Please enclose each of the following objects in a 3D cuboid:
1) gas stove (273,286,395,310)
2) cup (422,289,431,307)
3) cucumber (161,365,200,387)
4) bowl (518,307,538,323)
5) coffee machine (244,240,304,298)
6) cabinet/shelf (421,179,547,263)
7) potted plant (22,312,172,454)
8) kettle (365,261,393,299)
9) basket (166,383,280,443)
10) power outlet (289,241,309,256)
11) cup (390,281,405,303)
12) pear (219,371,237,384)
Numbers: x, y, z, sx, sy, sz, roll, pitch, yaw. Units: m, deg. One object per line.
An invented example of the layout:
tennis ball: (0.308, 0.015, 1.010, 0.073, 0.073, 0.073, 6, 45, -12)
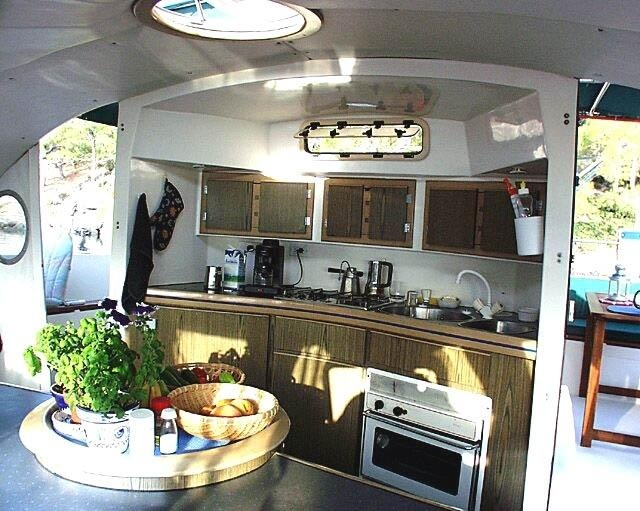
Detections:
gas stove: (0.113, 0.344, 3.782, 0.898, 0.059, 0.614, 5, 10, 19)
cup: (0.872, 0.350, 3.854, 0.103, 0.162, 0.106, 2, 2, 0)
cucumber: (-0.589, 0.520, 1.991, 0.135, 0.094, 0.041, 26, -52, -22)
bowl: (1.452, 0.415, 3.280, 0.092, 0.059, 0.094, 0, 1, 0)
coffee machine: (-0.452, 0.123, 4.022, 0.497, 0.545, 0.414, 0, -7, 18)
cabinet/shelf: (1.215, -0.242, 3.600, 0.984, 0.689, 0.513, 2, -2, 42)
potted plant: (-0.778, 0.417, 1.643, 0.436, 0.455, 0.379, -2, 10, -20)
kettle: (0.480, 0.201, 3.907, 0.292, 0.383, 0.255, 3, 0, 11)
basket: (-0.362, 0.576, 1.755, 0.221, 0.078, 0.227, 4, 3, 8)
power outlet: (-0.201, -0.059, 4.363, 0.196, 0.132, 0.122, 2, 11, 14)
cup: (0.663, 0.312, 4.005, 0.134, 0.158, 0.139, -1, 0, 0)
pear: (-0.389, 0.530, 2.038, 0.039, 0.015, 0.088, -16, -27, 8)
